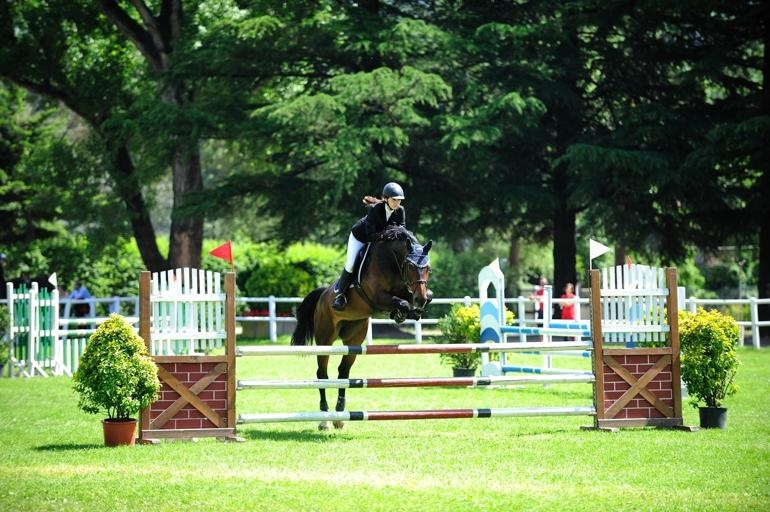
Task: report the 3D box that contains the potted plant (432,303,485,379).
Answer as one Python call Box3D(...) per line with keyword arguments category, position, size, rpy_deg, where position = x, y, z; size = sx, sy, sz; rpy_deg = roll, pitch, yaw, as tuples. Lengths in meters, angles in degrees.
Box3D(category="potted plant", position=(2.049, 2.281, 41.551), size=(0.975, 1.905, 0.920), rpy_deg=(-2, 0, 10))

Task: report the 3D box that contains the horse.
Box3D(category="horse", position=(-0.523, 1.827, 38.161), size=(1.264, 4.126, 5.416), rpy_deg=(7, -19, -34))

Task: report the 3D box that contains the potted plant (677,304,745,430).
Box3D(category="potted plant", position=(7.914, 2.741, 37.940), size=(1.759, 2.726, 1.781), rpy_deg=(-7, -2, 3))
